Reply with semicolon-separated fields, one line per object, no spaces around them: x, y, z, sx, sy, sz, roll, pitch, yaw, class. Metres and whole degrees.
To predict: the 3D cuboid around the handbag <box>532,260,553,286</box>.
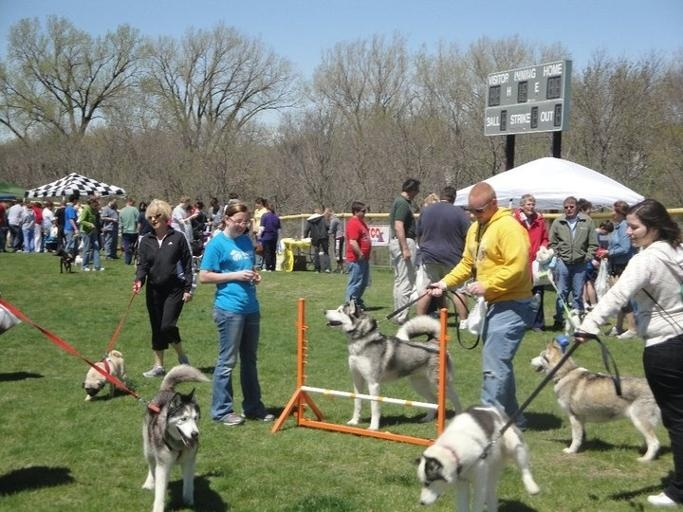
3.687;0.302;15.466;0.245;0.444;0.472;-3;7;32;handbag

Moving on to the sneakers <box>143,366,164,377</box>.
-3.130;1.911;14.101;0.385;0.173;0.151;-1;2;-6;sneakers

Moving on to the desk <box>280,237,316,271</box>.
-1.585;-0.036;28.301;1.420;1.038;1.212;0;1;-26;desk

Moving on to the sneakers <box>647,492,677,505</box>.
4.099;3.058;10.701;0.271;0.112;0.157;4;-5;14;sneakers

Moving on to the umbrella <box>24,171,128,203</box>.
-9.501;-2.508;31.392;2.484;0.825;2.467;-4;-3;39;umbrella

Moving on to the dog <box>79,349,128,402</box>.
-3.812;1.837;13.466;0.517;0.723;0.844;1;6;-3;dog

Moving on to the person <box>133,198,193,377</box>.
-2.911;0.542;13.857;0.947;2.927;0.883;1;6;-2;person

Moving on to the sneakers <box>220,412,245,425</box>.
-1.622;2.404;12.562;0.341;0.151;0.157;-2;1;7;sneakers

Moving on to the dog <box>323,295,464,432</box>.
0.817;1.679;12.801;2.252;1.736;0.745;5;-8;-25;dog

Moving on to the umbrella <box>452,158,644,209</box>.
5.692;-1.761;21.348;2.678;0.851;2.794;1;-2;-31;umbrella

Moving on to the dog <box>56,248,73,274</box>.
-8.240;0.119;25.008;0.386;0.633;1.514;-1;7;-20;dog

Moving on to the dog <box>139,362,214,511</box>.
-2.184;2.353;10.935;0.830;1.692;0.951;0;6;-12;dog

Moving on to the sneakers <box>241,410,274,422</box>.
-1.263;2.401;12.776;0.465;0.206;0.185;-4;-3;13;sneakers
